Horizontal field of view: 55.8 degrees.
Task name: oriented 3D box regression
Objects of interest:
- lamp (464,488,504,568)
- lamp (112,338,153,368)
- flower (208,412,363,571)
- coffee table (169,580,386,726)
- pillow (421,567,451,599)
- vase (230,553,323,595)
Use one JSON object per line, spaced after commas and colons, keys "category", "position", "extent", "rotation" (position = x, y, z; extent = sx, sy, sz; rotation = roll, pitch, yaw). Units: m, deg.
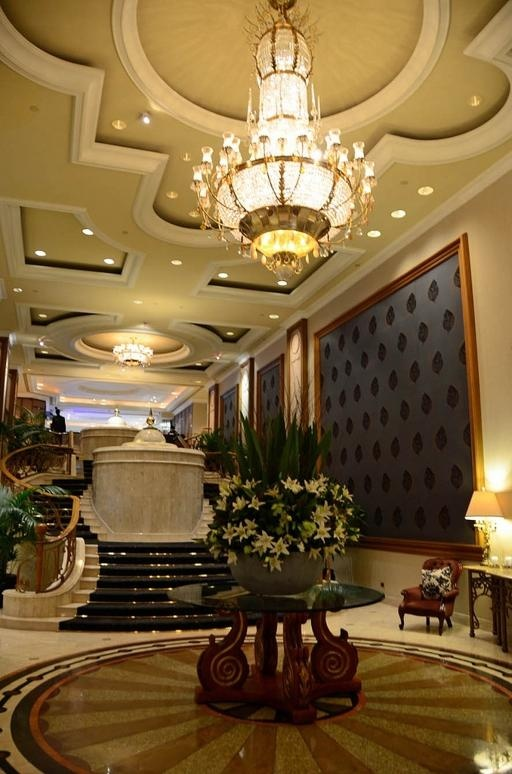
{"category": "lamp", "position": [2.379, 1.446, 4.985], "extent": [0.340, 0.757, 0.642], "rotation": [-4, -10, 26]}
{"category": "lamp", "position": [-3.288, -0.935, 12.633], "extent": [0.770, 0.444, 0.809], "rotation": [7, -30, -21]}
{"category": "flower", "position": [0.090, 0.506, 2.290], "extent": [0.722, 0.706, 0.515], "rotation": [-1, -9, 7]}
{"category": "coffee table", "position": [0.115, 1.595, 2.860], "extent": [1.191, 0.634, 1.257], "rotation": [9, -27, -19]}
{"category": "pillow", "position": [1.917, 2.089, 5.112], "extent": [0.253, 0.297, 0.113], "rotation": [-13, -45, 44]}
{"category": "vase", "position": [0.088, 0.895, 2.308], "extent": [0.459, 0.215, 0.226], "rotation": [-1, -9, 7]}
